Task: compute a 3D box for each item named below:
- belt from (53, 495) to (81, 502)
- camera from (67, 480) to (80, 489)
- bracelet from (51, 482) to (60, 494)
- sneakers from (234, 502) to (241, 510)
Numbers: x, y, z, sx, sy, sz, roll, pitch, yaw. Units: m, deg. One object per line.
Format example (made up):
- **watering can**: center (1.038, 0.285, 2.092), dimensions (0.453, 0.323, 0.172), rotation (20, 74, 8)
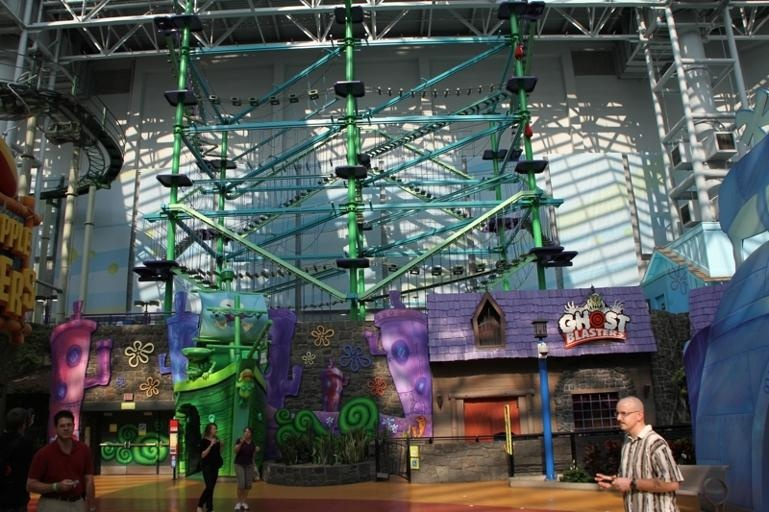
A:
- **belt**: center (-6.160, 4.763, 13.762), dimensions (0.420, 0.120, 0.041), rotation (3, -12, -22)
- **camera**: center (-6.006, 4.455, 13.665), dimensions (0.110, 0.150, 0.155), rotation (5, -35, -7)
- **bracelet**: center (-6.319, 4.502, 13.584), dimensions (0.038, 0.157, 0.155), rotation (3, -7, 36)
- **sneakers**: center (-3.979, 6.943, 19.413), dimensions (0.097, 0.117, 0.293), rotation (1, -6, 3)
